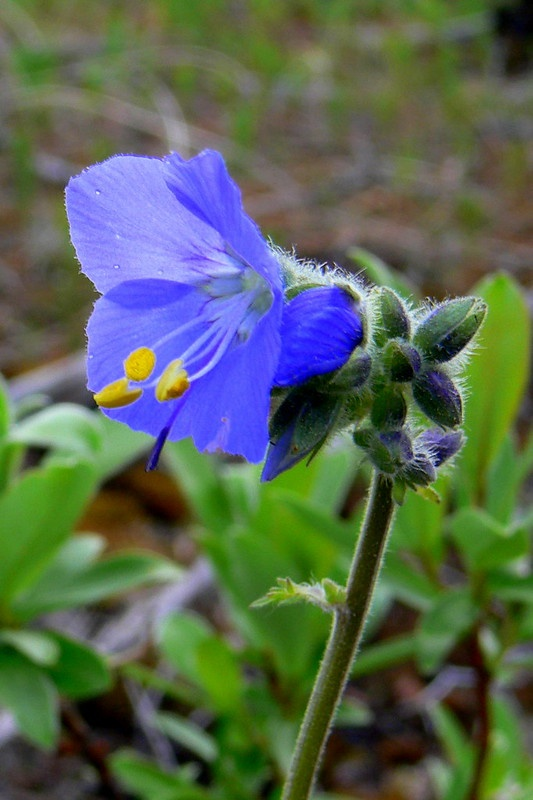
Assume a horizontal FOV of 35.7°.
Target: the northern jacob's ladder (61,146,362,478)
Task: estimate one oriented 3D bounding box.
[{"bbox_3d":[-0.010,-0.061,0.620,0.127,0.228,0.232,-6,22,-28],"label":"northern jacob's ladder"}]
